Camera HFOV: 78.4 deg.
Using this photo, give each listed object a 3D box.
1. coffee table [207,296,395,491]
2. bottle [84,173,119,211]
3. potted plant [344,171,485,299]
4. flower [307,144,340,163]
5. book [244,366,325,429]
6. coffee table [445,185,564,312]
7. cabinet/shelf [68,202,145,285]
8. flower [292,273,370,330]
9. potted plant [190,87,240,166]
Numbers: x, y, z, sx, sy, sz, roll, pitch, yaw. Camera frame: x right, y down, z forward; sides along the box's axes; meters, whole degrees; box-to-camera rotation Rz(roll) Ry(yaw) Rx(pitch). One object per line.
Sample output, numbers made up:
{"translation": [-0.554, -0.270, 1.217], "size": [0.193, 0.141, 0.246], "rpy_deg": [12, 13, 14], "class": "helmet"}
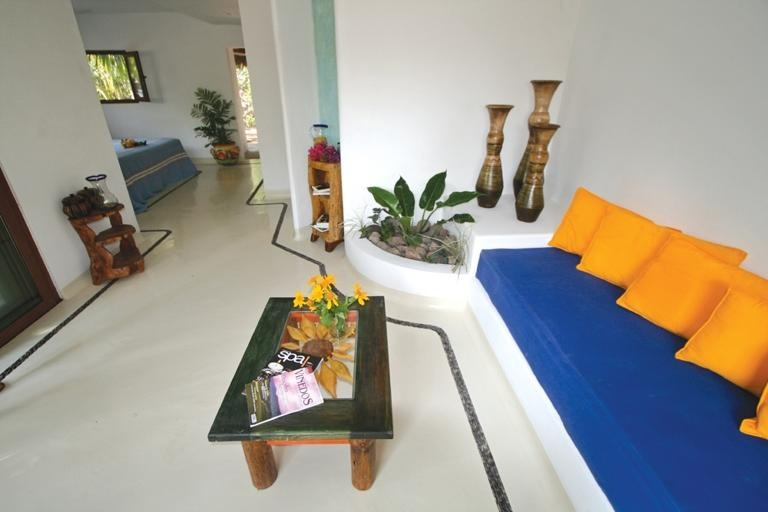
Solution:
{"translation": [-0.491, 0.986, 3.195], "size": [1.025, 0.660, 1.236], "rpy_deg": [-2, 44, -2], "class": "coffee table"}
{"translation": [-2.666, -0.621, 4.457], "size": [0.179, 0.285, 0.253], "rpy_deg": [-21, 37, -36], "class": "bottle"}
{"translation": [0.240, -0.117, 4.483], "size": [1.223, 0.467, 1.229], "rpy_deg": [-8, 40, -10], "class": "potted plant"}
{"translation": [-0.615, -1.050, 4.835], "size": [0.220, 0.122, 0.287], "rpy_deg": [-11, 32, -24], "class": "flower"}
{"translation": [-0.630, 0.829, 2.884], "size": [0.387, 0.042, 0.273], "rpy_deg": [-12, 49, -13], "class": "book"}
{"translation": [1.143, -0.044, 4.410], "size": [0.890, 0.627, 0.956], "rpy_deg": [-4, 34, -2], "class": "coffee table"}
{"translation": [-2.663, -0.123, 4.540], "size": [0.480, 0.695, 0.443], "rpy_deg": [-21, 37, -36], "class": "cabinet/shelf"}
{"translation": [-0.361, 0.331, 3.383], "size": [0.429, 0.377, 0.433], "rpy_deg": [-19, 60, 34], "class": "flower"}
{"translation": [-2.938, -2.239, 8.170], "size": [0.729, 1.256, 0.615], "rpy_deg": [-7, 30, -17], "class": "potted plant"}
